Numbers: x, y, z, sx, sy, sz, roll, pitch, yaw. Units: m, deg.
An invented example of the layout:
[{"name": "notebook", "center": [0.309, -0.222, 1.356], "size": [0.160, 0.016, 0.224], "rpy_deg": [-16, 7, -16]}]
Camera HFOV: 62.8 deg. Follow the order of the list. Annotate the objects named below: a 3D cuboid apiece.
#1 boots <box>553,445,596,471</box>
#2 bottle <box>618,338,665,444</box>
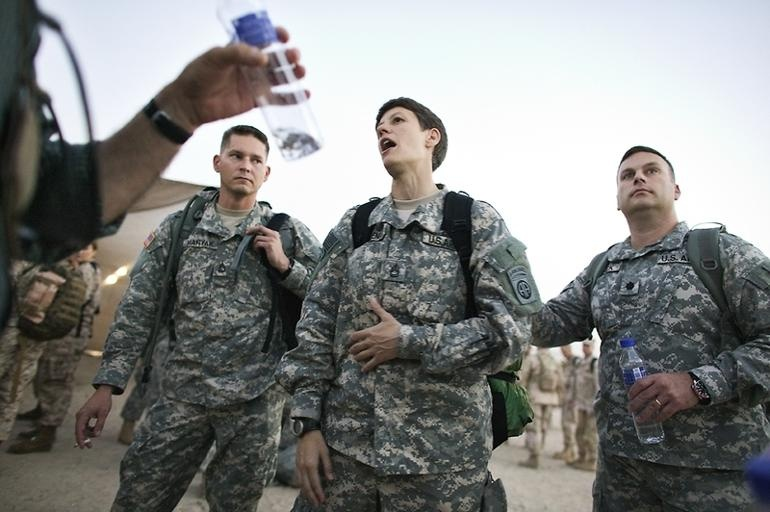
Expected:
[{"name": "boots", "center": [2.939, 3.036, 9.629], "size": [0.272, 0.484, 0.729], "rpy_deg": [5, -7, -32]}, {"name": "bottle", "center": [1.454, 0.734, 3.595], "size": [0.184, 0.621, 0.258], "rpy_deg": [-9, -27, 24]}]
